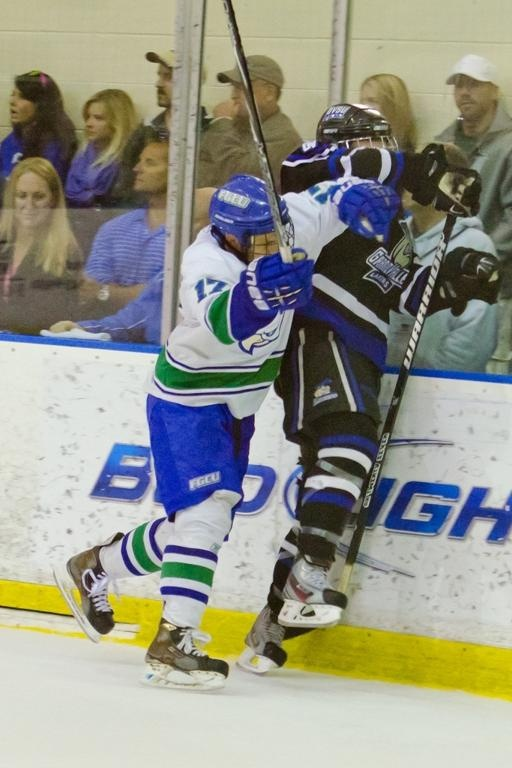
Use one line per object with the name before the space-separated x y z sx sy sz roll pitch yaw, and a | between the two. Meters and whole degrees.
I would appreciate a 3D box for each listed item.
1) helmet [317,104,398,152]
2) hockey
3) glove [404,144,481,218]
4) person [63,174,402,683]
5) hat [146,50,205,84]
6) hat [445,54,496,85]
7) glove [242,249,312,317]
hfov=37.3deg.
helmet | 0.312 -0.788 2.422 0.206 0.168 0.154 -1 8 30
hockey | 0.353 0.080 2.327 0.139 1.435 0.234 25 8 28
glove | 0.594 -0.652 2.495 0.272 0.192 0.121 32 7 6
person | -0.053 0.133 2.095 0.524 1.524 1.029 8 -5 -31
hat | -0.271 -1.102 2.617 0.177 0.052 0.103 21 7 -27
hat | 0.676 -0.989 2.373 0.094 0.058 0.124 2 -6 33
glove | 0.059 -0.226 1.685 0.147 0.102 0.142 -4 10 24
